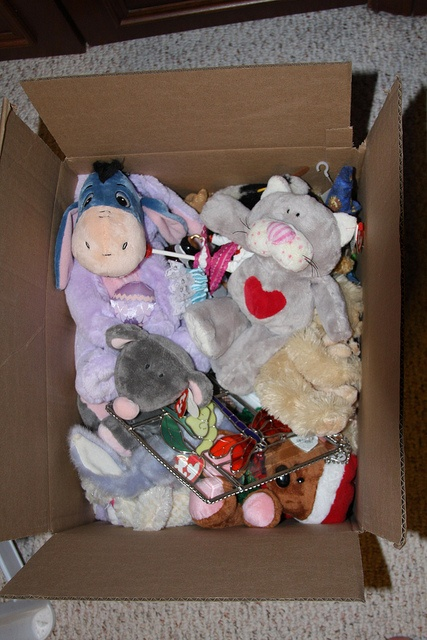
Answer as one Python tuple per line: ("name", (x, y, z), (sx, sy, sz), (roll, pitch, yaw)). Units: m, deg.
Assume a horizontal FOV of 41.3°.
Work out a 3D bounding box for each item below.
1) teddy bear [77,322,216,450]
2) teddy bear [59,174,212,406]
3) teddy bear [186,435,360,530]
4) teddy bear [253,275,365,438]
("teddy bear", (-0.108, 0.090, 0.816), (0.175, 0.063, 0.167), (38, 87, 5))
("teddy bear", (-0.136, -0.063, 0.878), (0.276, 0.147, 0.354), (-6, 92, -14))
("teddy bear", (0.074, 0.245, 0.835), (0.211, 0.067, 0.131), (-3, 90, 3))
("teddy bear", (0.139, 0.038, 0.798), (0.151, 0.090, 0.216), (10, 91, 19))
